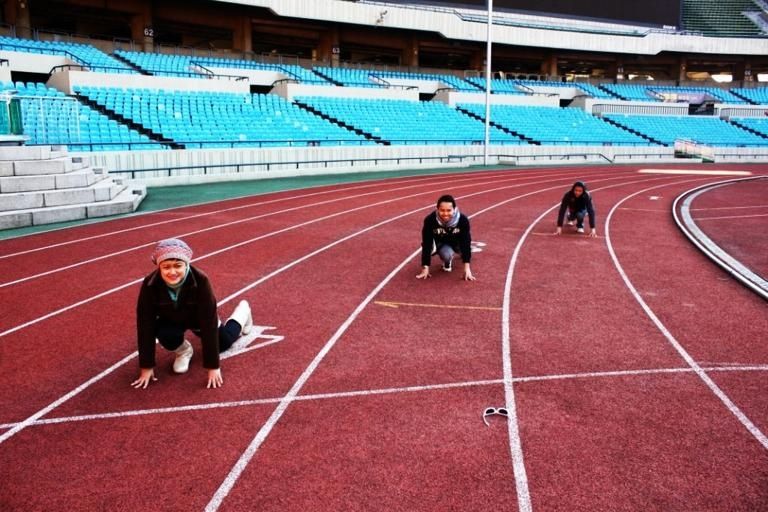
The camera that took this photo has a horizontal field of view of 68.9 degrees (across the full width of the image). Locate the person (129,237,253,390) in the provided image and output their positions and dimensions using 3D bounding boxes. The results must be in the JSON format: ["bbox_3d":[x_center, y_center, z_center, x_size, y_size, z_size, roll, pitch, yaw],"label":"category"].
[{"bbox_3d":[-2.308,0.519,6.440,1.032,1.664,1.078,0,18,-2],"label":"person"}]

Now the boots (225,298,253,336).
[{"bbox_3d":[-1.854,0.803,7.262,0.240,0.517,0.217,-1,-22,19],"label":"boots"}]

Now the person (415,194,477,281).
[{"bbox_3d":[1.093,-0.358,9.536,0.963,1.484,0.978,8,19,20],"label":"person"}]

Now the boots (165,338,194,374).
[{"bbox_3d":[-2.336,1.191,6.409,0.149,0.200,0.450,-1,8,-8],"label":"boots"}]

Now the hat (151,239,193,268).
[{"bbox_3d":[-2.271,0.014,5.974,0.316,0.257,0.401,3,-19,-34],"label":"hat"}]

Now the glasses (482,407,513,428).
[{"bbox_3d":[1.132,1.620,5.758,0.323,0.082,0.211,-8,21,-26],"label":"glasses"}]

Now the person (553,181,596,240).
[{"bbox_3d":[4.436,-1.074,12.946,0.757,1.380,1.335,3,32,20],"label":"person"}]
